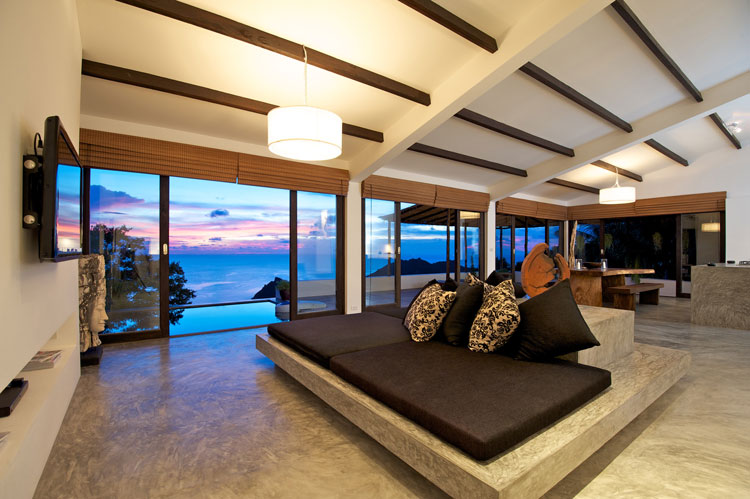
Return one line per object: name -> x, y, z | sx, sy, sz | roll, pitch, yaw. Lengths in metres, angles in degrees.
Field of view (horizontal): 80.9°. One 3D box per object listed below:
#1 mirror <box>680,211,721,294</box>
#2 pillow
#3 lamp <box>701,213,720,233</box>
mirror -> 7.057, 0.118, 9.539 | 0.860, 1.835, 0.371 | 7, 14, 41
pillow -> 1.225, 0.626, 4.194 | 1.746, 0.703, 0.726 | -5, -31, 32
lamp -> 7.172, -0.563, 9.374 | 0.144, 0.330, 0.377 | 3, 8, -27
